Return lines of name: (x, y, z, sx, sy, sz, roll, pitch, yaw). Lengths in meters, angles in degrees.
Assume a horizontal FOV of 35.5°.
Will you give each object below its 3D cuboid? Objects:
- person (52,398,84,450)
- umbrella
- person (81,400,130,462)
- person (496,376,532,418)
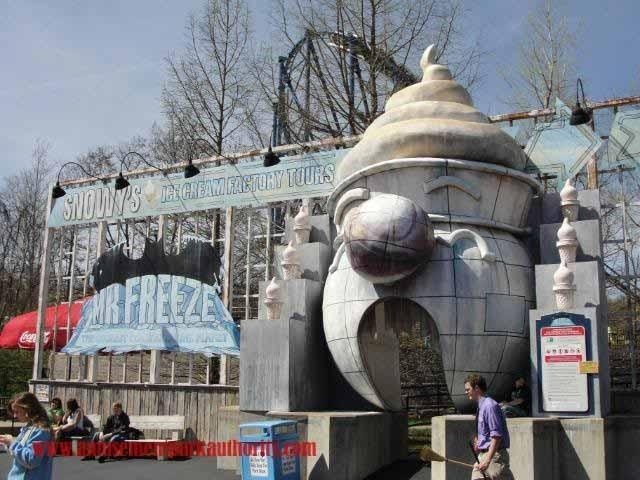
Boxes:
person: (-6.488, 4.720, 25.700, 0.647, 1.402, 0.750, -9, -13, 31)
umbrella: (-9.636, 3.109, 33.852, 2.444, 1.045, 2.563, -1, -18, -3)
person: (-5.706, 4.801, 25.390, 0.890, 1.567, 1.391, -19, -26, 35)
person: (4.279, 3.450, 21.941, 0.768, 1.122, 0.838, 5, -24, 7)
